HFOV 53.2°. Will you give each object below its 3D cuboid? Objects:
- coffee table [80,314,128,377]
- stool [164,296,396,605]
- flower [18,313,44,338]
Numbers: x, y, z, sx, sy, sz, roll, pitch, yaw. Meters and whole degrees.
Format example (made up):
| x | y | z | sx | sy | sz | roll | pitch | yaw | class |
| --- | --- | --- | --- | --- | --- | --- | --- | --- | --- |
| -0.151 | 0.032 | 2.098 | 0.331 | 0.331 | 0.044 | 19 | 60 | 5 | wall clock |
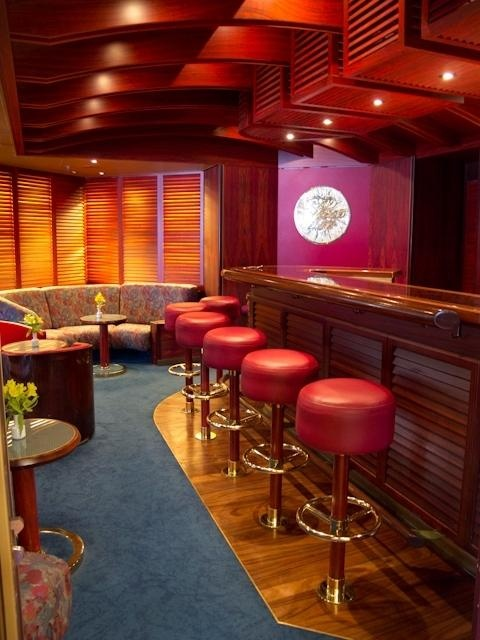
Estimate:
| x | y | z | sx | sy | sz | roll | pitch | yaw | class |
| --- | --- | --- | --- | --- | --- | --- | --- | --- | --- |
| -1.834 | 0.349 | 6.348 | 0.643 | 0.738 | 0.630 | -6 | 7 | -22 | coffee table |
| 0.220 | 0.714 | 2.579 | 0.508 | 1.046 | 1.232 | -6 | 11 | -23 | stool |
| -2.104 | 0.062 | 4.798 | 0.229 | 0.244 | 0.229 | -1 | 11 | -4 | flower |
